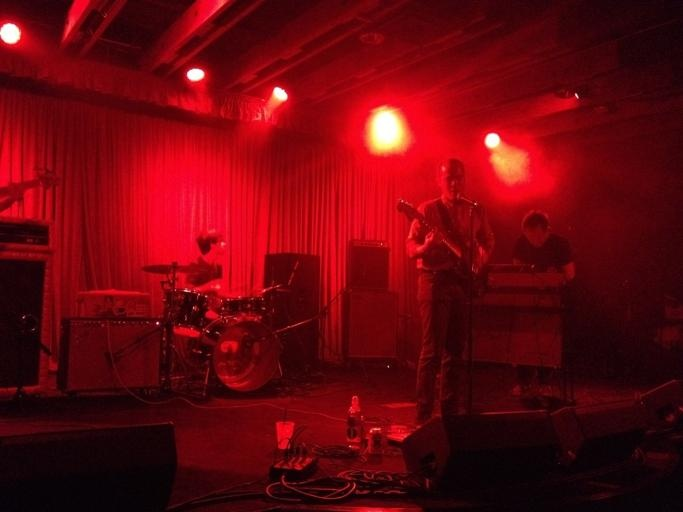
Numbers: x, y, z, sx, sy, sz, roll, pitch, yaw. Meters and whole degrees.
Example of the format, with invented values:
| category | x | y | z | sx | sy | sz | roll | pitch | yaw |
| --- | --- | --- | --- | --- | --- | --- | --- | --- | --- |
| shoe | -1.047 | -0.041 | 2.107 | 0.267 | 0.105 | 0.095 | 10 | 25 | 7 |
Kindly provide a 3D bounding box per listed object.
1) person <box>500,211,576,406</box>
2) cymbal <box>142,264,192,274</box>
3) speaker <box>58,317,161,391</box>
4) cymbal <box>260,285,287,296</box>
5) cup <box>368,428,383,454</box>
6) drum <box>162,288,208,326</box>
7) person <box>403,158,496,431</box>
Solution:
| category | x | y | z | sx | sy | sz | roll | pitch | yaw |
| --- | --- | --- | --- | --- | --- | --- | --- | --- | --- |
| person | 1.766 | 0.380 | 5.044 | 0.563 | 1.755 | 1.428 | 0 | -8 | 22 |
| cymbal | -1.681 | 0.132 | 5.564 | 0.249 | 0.062 | 0.259 | 0 | -2 | 21 |
| speaker | -2.281 | 0.759 | 5.654 | 1.106 | 0.901 | 0.651 | 2 | 0 | -20 |
| cymbal | -0.768 | 0.409 | 6.756 | 0.196 | 0.072 | 0.196 | 1 | 3 | 22 |
| cup | 0.210 | 1.167 | 3.587 | 0.085 | 0.146 | 0.170 | 3 | -7 | 0 |
| drum | -1.534 | 0.504 | 5.556 | 0.346 | 0.275 | 0.344 | 4 | -2 | 0 |
| person | 0.800 | 0.283 | 4.319 | 0.648 | 2.046 | 0.818 | 1 | -8 | 15 |
